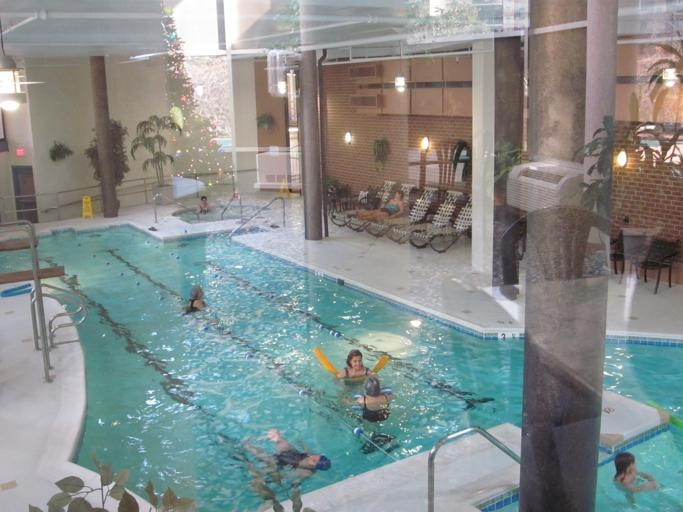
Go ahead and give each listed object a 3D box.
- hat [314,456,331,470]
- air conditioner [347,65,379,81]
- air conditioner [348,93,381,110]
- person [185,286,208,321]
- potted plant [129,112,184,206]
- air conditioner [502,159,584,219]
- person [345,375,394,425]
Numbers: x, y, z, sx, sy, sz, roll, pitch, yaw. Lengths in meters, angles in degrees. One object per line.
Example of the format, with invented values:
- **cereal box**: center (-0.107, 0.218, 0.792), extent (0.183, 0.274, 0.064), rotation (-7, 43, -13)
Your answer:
- **hat**: center (-0.204, 2.347, 5.806), extent (0.157, 0.070, 0.252), rotation (-1, 14, 9)
- **air conditioner**: center (0.716, -5.507, 15.314), extent (0.337, 0.442, 1.404), rotation (-10, 15, -26)
- **air conditioner**: center (0.740, -4.688, 15.588), extent (0.234, 0.470, 1.423), rotation (-11, 16, -27)
- **person**: center (-3.630, 1.202, 12.826), extent (0.652, 0.724, 0.419), rotation (-1, 37, -18)
- **potted plant**: center (-7.046, -3.811, 19.989), extent (1.145, 3.322, 1.939), rotation (2, 15, 20)
- **air conditioner**: center (1.186, -0.389, 2.950), extent (0.280, 0.241, 0.364), rotation (-20, 28, -31)
- **person**: center (0.395, 1.829, 6.827), extent (0.597, 0.599, 0.791), rotation (-4, 14, -4)
